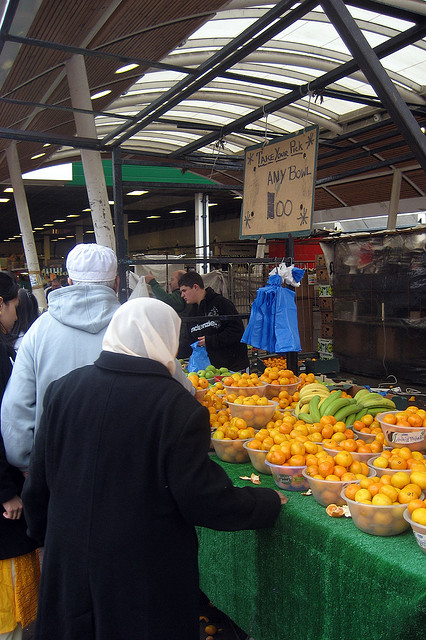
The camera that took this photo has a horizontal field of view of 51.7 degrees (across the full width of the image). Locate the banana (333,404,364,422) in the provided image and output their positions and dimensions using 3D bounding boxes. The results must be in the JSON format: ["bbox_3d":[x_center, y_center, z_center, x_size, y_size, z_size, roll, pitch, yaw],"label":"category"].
[{"bbox_3d":[0.750,0.525,2.465,0.218,0.070,0.045,-14,0,-30],"label":"banana"}]

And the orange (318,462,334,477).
[{"bbox_3d":[0.448,0.599,1.756,0.054,0.062,0.051,2,6,-26],"label":"orange"}]

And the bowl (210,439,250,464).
[{"bbox_3d":[0.100,0.671,2.318,0.168,0.081,0.165,-1,-9,0],"label":"bowl"}]

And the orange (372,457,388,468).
[{"bbox_3d":[0.686,0.586,1.802,0.036,0.035,0.035,-8,-3,2],"label":"orange"}]

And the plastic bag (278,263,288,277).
[{"bbox_3d":[0.653,-0.475,4.126,0.082,0.116,0.039,-6,-21,30],"label":"plastic bag"}]

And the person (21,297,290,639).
[{"bbox_3d":[-0.268,0.467,1.357,0.825,1.048,0.432,2,10,16],"label":"person"}]

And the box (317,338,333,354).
[{"bbox_3d":[2.851,0.666,11.247,0.347,0.283,0.480,9,-8,-42],"label":"box"}]

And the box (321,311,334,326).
[{"bbox_3d":[2.928,-0.056,11.290,0.282,0.356,0.360,-6,7,-43],"label":"box"}]

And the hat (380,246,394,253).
[{"bbox_3d":[3.840,-1.571,9.704,0.045,0.179,0.188,5,5,-33],"label":"hat"}]

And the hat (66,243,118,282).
[{"bbox_3d":[-0.577,-0.291,2.064,0.190,0.130,0.192,-10,19,-41],"label":"hat"}]

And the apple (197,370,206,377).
[{"bbox_3d":[-0.091,0.422,3.468,0.045,0.050,0.042,10,17,-27],"label":"apple"}]

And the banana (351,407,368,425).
[{"bbox_3d":[0.844,0.542,2.529,0.041,0.055,0.176,5,29,30],"label":"banana"}]

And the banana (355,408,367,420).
[{"bbox_3d":[0.845,0.539,2.523,0.032,0.036,0.124,-8,13,30],"label":"banana"}]

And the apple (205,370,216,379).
[{"bbox_3d":[-0.021,0.425,3.433,0.053,0.053,0.063,10,-1,11],"label":"apple"}]

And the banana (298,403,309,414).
[{"bbox_3d":[0.561,0.539,2.688,0.093,0.025,0.030,-34,-13,-37],"label":"banana"}]

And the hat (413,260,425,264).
[{"bbox_3d":[4.271,-1.217,9.135,0.040,0.078,0.233,-6,11,-24],"label":"hat"}]

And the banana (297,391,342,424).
[{"bbox_3d":[0.612,0.499,2.537,0.195,0.049,0.168,-44,10,-36],"label":"banana"}]

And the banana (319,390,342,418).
[{"bbox_3d":[0.674,0.470,2.597,0.059,0.088,0.268,-5,26,38],"label":"banana"}]

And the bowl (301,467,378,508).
[{"bbox_3d":[0.460,0.653,1.703,0.198,0.075,0.195,-1,-4,0],"label":"bowl"}]

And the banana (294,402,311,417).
[{"bbox_3d":[0.550,0.542,2.704,0.115,0.040,0.058,-44,16,-30],"label":"banana"}]

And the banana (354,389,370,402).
[{"bbox_3d":[0.954,0.485,2.849,0.107,0.033,0.064,-15,19,-40],"label":"banana"}]

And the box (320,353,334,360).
[{"bbox_3d":[2.559,0.822,9.919,0.311,0.163,0.435,0,-2,-11],"label":"box"}]

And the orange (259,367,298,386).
[{"bbox_3d":[0.489,0.411,3.210,0.271,0.157,0.305,-1,-2,20],"label":"orange"}]

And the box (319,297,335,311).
[{"bbox_3d":[2.911,-0.420,11.287,0.318,0.298,0.318,1,6,9],"label":"box"}]

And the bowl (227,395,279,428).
[{"bbox_3d":[0.230,0.506,2.524,0.202,0.116,0.202,-3,-3,0],"label":"bowl"}]

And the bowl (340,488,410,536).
[{"bbox_3d":[0.552,0.661,1.472,0.192,0.136,0.090,1,10,14],"label":"bowl"}]

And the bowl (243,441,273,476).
[{"bbox_3d":[0.210,0.663,2.160,0.147,0.086,0.151,0,4,0],"label":"bowl"}]

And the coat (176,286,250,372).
[{"bbox_3d":[-0.096,0.157,4.867,0.830,0.947,0.643,-16,7,-3],"label":"coat"}]

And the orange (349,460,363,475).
[{"bbox_3d":[0.580,0.607,1.795,0.023,0.043,0.043,21,-35,-34],"label":"orange"}]

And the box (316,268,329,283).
[{"bbox_3d":[2.821,-1.163,11.433,0.300,0.414,0.440,-7,10,-22],"label":"box"}]

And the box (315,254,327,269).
[{"bbox_3d":[2.795,-1.556,11.540,0.301,0.409,0.419,-1,-8,0],"label":"box"}]

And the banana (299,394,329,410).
[{"bbox_3d":[0.622,0.514,2.776,0.126,0.033,0.097,-17,-1,-1],"label":"banana"}]

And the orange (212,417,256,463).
[{"bbox_3d":[0.116,0.643,2.368,0.213,0.151,0.214,-1,0,8],"label":"orange"}]

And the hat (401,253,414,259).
[{"bbox_3d":[4.115,-1.371,9.341,0.038,0.121,0.248,-6,11,-24],"label":"hat"}]

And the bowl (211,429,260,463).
[{"bbox_3d":[0.097,0.685,2.317,0.204,0.091,0.200,-1,-3,0],"label":"bowl"}]

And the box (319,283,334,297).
[{"bbox_3d":[2.885,-0.780,11.343,0.151,0.365,0.472,-6,11,-25],"label":"box"}]

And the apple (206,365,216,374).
[{"bbox_3d":[-0.013,0.395,3.548,0.061,0.045,0.047,9,-12,-28],"label":"apple"}]

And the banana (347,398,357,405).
[{"bbox_3d":[0.825,0.481,2.604,0.028,0.023,0.083,5,3,1],"label":"banana"}]

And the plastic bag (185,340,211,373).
[{"bbox_3d":[-0.152,0.382,4.656,0.312,0.362,0.188,1,11,22],"label":"plastic bag"}]

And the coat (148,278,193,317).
[{"bbox_3d":[-0.598,-0.309,6.577,0.632,0.973,0.625,0,13,-2],"label":"coat"}]

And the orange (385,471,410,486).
[{"bbox_3d":[0.680,0.586,1.625,0.063,0.051,0.056,-19,9,-6],"label":"orange"}]

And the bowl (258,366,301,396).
[{"bbox_3d":[0.457,0.414,3.060,0.207,0.142,0.210,-2,-1,0],"label":"bowl"}]

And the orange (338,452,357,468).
[{"bbox_3d":[0.568,0.580,1.862,0.064,0.064,0.061,4,24,-46],"label":"orange"}]
